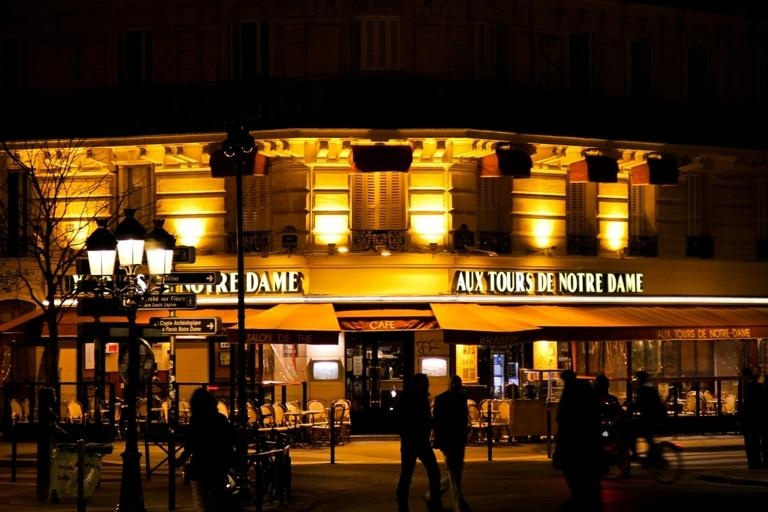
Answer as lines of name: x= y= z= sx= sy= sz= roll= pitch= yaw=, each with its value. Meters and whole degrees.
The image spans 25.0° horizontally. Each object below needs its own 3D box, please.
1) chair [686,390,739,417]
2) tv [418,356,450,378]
chair: x=10.315 y=4.665 z=54.743 sx=0.934 sy=0.524 sz=1.278 roll=4 pitch=-4 yaw=-42
tv: x=1.569 y=3.512 z=54.290 sx=1.149 sy=0.670 sz=0.569 roll=1 pitch=-7 yaw=-8
